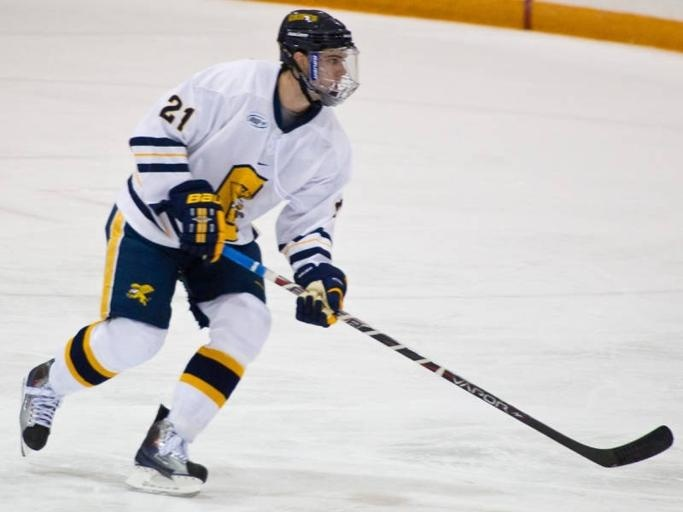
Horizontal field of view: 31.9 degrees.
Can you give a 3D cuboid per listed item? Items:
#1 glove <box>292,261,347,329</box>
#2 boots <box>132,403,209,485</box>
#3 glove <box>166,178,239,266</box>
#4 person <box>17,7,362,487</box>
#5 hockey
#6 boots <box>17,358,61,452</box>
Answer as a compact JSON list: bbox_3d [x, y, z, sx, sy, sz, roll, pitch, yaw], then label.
[{"bbox_3d":[-0.079,0.151,4.694,0.216,0.130,0.243,33,32,-44],"label":"glove"},{"bbox_3d":[-0.625,0.726,4.512,0.336,0.260,0.194,2,6,22],"label":"boots"},{"bbox_3d":[-0.524,-0.118,4.539,0.246,0.297,0.098,-20,8,2],"label":"glove"},{"bbox_3d":[-0.489,-0.055,4.610,1.066,1.852,0.756,16,15,6],"label":"person"},{"bbox_3d":[0.582,0.503,5.398,0.341,0.057,2.840,-32,18,-16],"label":"hockey"},{"bbox_3d":[-1.168,0.576,4.681,0.147,0.354,0.161,20,-6,-20],"label":"boots"}]
